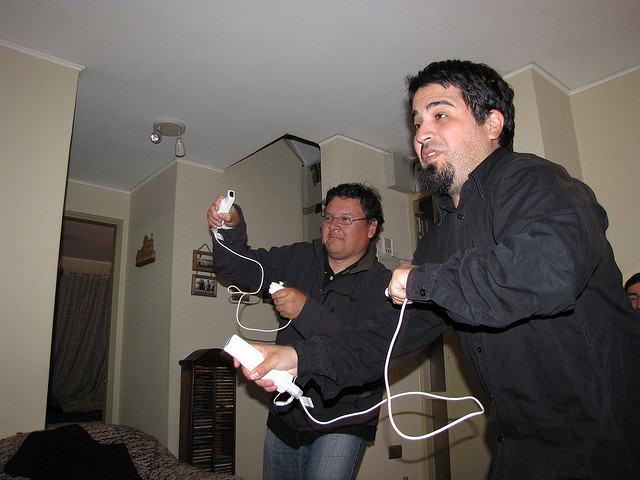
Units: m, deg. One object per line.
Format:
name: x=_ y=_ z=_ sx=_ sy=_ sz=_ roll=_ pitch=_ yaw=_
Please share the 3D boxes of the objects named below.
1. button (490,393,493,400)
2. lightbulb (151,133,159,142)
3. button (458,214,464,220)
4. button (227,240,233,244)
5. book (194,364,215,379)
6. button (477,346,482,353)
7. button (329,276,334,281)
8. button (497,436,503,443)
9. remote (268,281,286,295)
button: x=0.558 y=0.509 z=1.470 sx=0.006 sy=0.025 sz=0.005 roll=-6 pitch=4 yaw=-14
lightbulb: x=-1.297 y=-0.812 z=3.578 sx=0.034 sy=0.060 sz=0.057 roll=-10 pitch=10 yaw=35
button: x=0.495 y=-0.085 z=1.590 sx=0.014 sy=0.016 sz=0.004 roll=-10 pitch=-22 yaw=19
button: x=-0.484 y=0.010 z=2.437 sx=0.027 sy=0.013 sz=0.010 roll=-1 pitch=-9 yaw=-6
book: x=-0.997 y=1.119 z=3.874 sx=0.156 sy=0.154 sz=0.039 roll=6 pitch=-1 yaw=-19
button: x=0.525 y=0.357 z=1.486 sx=0.005 sy=0.021 sz=0.020 roll=5 pitch=-11 yaw=-37
button: x=0.063 y=0.203 z=2.427 sx=0.028 sy=0.024 sz=0.009 roll=-9 pitch=-12 yaw=37
button: x=0.580 y=0.638 z=1.458 sx=0.015 sy=0.012 sz=0.015 roll=0 pitch=-2 yaw=-22
remote: x=-0.201 y=0.218 z=2.124 sx=0.048 sy=0.060 sz=0.067 roll=30 pitch=3 yaw=5
